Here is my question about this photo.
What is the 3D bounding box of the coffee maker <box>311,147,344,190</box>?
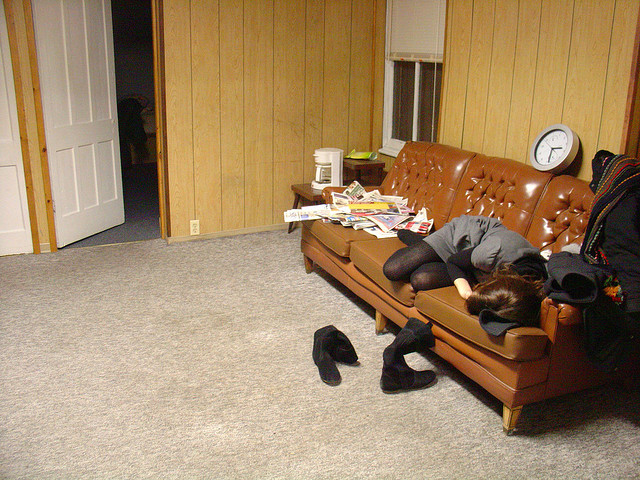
[{"bbox_3d":[0.084,-0.740,4.947,0.298,0.370,0.306,-4,20,-11],"label":"coffee maker"}]

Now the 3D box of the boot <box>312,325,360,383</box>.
[{"bbox_3d":[0.093,0.728,3.073,0.347,0.213,0.503,0,15,8],"label":"boot"}]

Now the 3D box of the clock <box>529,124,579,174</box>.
[{"bbox_3d":[1.613,-0.647,3.360,0.289,0.352,0.084,-13,34,2],"label":"clock"}]

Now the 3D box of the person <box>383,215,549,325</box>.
[{"bbox_3d":[0.951,0.162,2.961,0.678,0.418,0.991,-15,27,-34],"label":"person"}]
